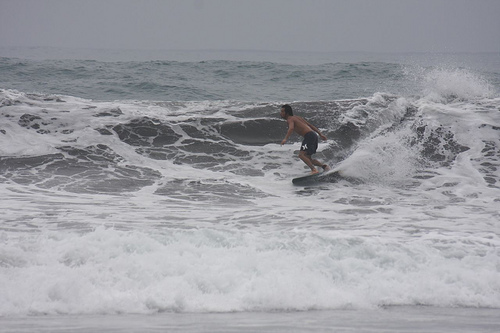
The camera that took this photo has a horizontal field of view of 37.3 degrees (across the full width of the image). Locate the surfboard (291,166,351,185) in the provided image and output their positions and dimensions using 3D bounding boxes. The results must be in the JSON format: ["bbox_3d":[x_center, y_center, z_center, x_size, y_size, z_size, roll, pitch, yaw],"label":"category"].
[{"bbox_3d":[1.663,0.212,17.006,2.169,0.229,0.211,-7,5,-16],"label":"surfboard"}]

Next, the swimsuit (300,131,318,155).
[{"bbox_3d":[1.368,-0.550,17.067,0.375,0.548,0.166,4,7,-2],"label":"swimsuit"}]
